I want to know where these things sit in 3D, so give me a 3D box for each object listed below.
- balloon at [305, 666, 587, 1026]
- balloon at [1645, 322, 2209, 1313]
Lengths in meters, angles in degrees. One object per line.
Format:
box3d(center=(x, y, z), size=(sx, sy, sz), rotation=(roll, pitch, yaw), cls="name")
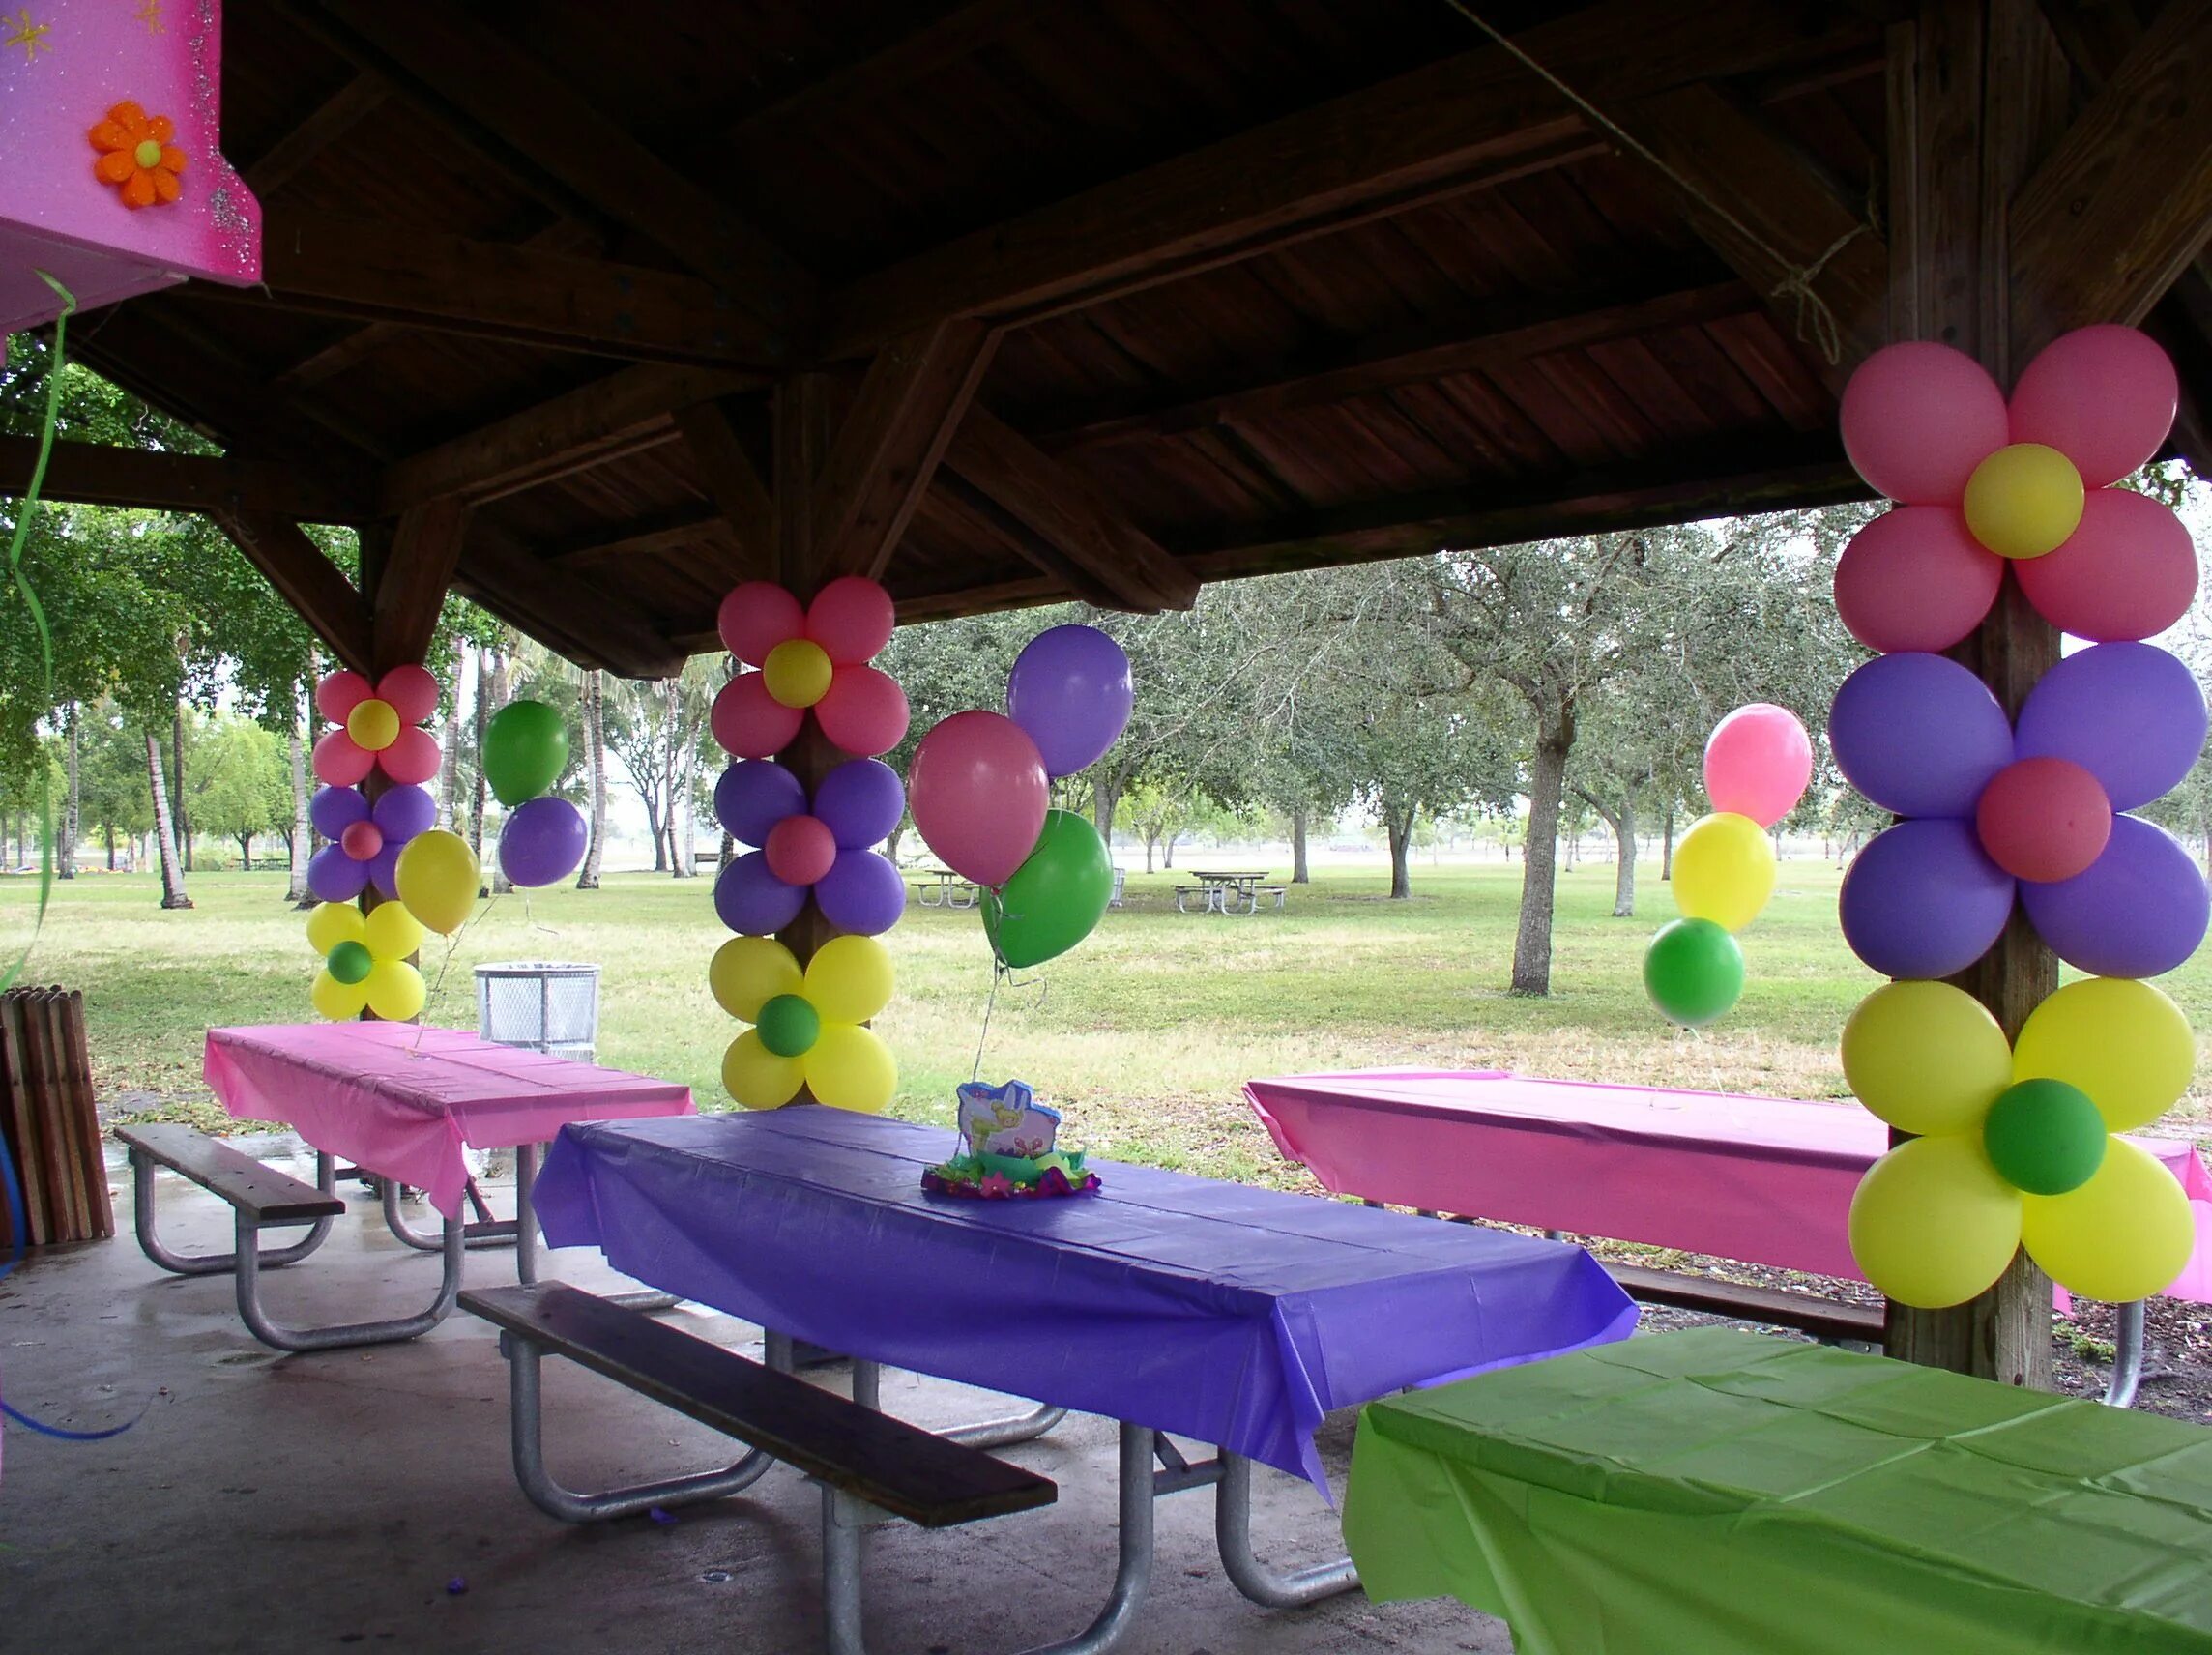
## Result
box3d(center=(-3.363, 0.064, 7.835), size=(1.774, 1.898, 0.624), rotation=(-4, -1, 21), cls="balloon")
box3d(center=(1.876, 0.002, 3.175), size=(0.779, 1.891, 0.505), rotation=(3, 0, -8), cls="balloon")
